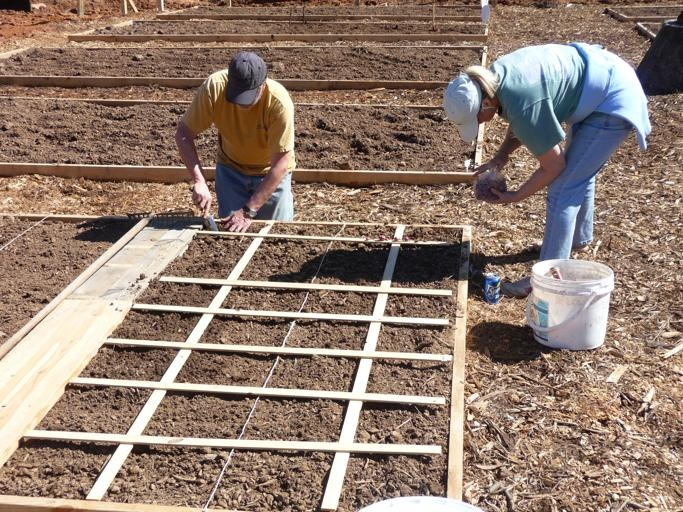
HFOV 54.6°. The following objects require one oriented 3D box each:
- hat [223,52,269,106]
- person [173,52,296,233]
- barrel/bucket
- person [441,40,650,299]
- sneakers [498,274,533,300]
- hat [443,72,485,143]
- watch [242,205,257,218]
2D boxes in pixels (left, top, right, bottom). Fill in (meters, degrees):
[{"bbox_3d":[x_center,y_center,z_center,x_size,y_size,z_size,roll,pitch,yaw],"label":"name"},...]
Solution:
[{"bbox_3d":[-0.661,-1.311,4.926,0.362,0.239,0.376,11,67,0],"label":"hat"},{"bbox_3d":[-0.817,-0.830,5.348,0.954,1.612,0.793,-5,37,5],"label":"person"},{"bbox_3d":[1.427,0.310,4.709,0.821,0.506,0.670,1,21,9],"label":"barrel/bucket"},{"bbox_3d":[1.587,-0.717,4.870,1.350,1.634,0.789,-27,41,-26],"label":"person"},{"bbox_3d":[1.335,0.226,5.078,0.236,0.153,0.171,19,19,30],"label":"sneakers"},{"bbox_3d":[0.833,-0.983,4.545,0.250,0.543,0.262,-4,37,7],"label":"hat"},{"bbox_3d":[-0.748,-0.366,5.351,0.124,0.121,0.066,18,78,26],"label":"watch"}]
